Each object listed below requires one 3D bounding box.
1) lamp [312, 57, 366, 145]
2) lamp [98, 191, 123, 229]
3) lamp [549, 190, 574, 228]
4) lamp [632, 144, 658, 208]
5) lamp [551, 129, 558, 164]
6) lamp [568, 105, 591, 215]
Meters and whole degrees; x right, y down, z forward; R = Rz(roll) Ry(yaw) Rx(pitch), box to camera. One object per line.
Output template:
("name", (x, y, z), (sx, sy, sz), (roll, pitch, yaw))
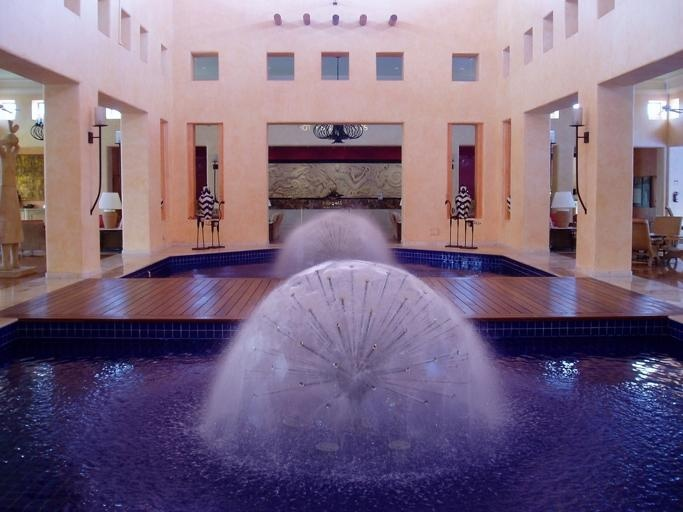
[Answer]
("lamp", (-0.104, -4.428, 14.678), (1.340, 2.520, 1.487), (4, 12, 23))
("lamp", (-5.166, -1.016, 11.559), (0.564, 0.799, 0.600), (-1, 1, 17))
("lamp", (4.943, -1.013, 11.607), (0.603, 0.805, 0.605), (0, -4, 44))
("lamp", (8.828, -2.278, 15.112), (0.673, 1.674, 0.337), (8, 13, 38))
("lamp", (6.017, -3.146, 14.694), (0.197, 0.916, 0.465), (4, 11, 22))
("lamp", (3.703, -1.458, 8.069), (0.224, 1.607, 0.377), (-9, 14, -12))
